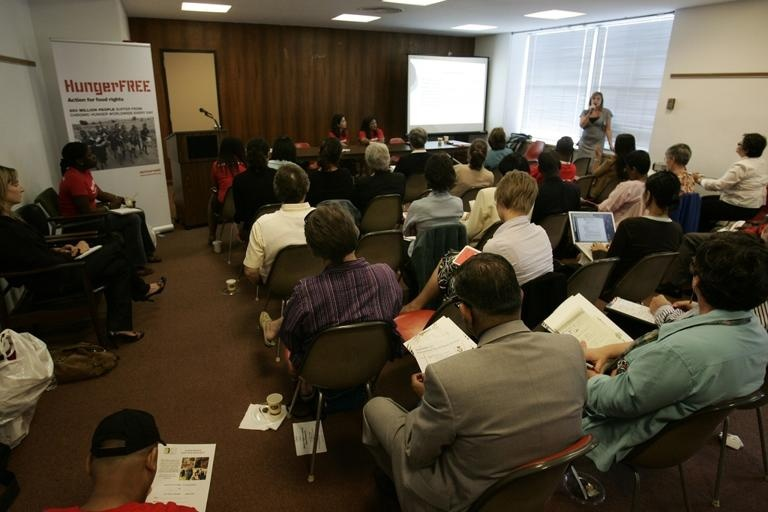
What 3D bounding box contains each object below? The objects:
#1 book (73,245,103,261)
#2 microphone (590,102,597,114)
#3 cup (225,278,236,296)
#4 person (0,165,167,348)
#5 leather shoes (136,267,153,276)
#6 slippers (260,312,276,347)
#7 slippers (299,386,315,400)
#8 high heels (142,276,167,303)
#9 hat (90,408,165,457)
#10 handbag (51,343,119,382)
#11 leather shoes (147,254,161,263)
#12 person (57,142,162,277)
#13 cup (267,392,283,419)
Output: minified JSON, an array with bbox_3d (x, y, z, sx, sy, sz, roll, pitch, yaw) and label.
[{"bbox_3d":[-2.577,-0.028,4.536,0.291,0.023,0.226,-37,22,-32],"label":"book"},{"bbox_3d":[3.590,-2.537,8.806,0.104,0.126,0.205,10,28,11],"label":"microphone"},{"bbox_3d":[-1.590,0.321,5.482,0.141,0.156,0.146,2,10,0],"label":"cup"},{"bbox_3d":[-2.840,0.036,4.859,1.522,1.806,1.034,-6,28,-23],"label":"person"},{"bbox_3d":[-2.649,0.171,5.778,0.180,0.086,0.072,1,14,12],"label":"leather shoes"},{"bbox_3d":[-0.935,0.601,4.173,0.134,0.171,0.416,-3,28,-10],"label":"slippers"},{"bbox_3d":[-0.579,1.052,3.991,0.109,0.062,0.150,-6,37,-19],"label":"slippers"},{"bbox_3d":[-2.238,0.359,5.075,0.098,0.375,0.140,9,44,-37],"label":"high heels"},{"bbox_3d":[-1.309,0.901,2.658,0.208,0.175,0.295,6,8,29],"label":"hat"},{"bbox_3d":[-2.457,0.861,4.295,0.447,0.170,0.281,-10,47,-35],"label":"handbag"},{"bbox_3d":[-2.693,0.019,6.113,0.068,0.071,0.161,-14,19,-41],"label":"leather shoes"},{"bbox_3d":[-3.030,-0.560,5.737,0.861,1.441,0.481,-5,29,-28],"label":"person"},{"bbox_3d":[-0.825,1.140,3.957,0.125,0.153,0.141,-1,4,3],"label":"cup"}]
